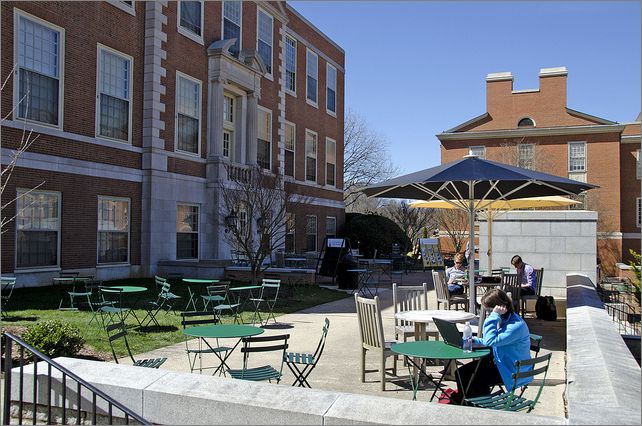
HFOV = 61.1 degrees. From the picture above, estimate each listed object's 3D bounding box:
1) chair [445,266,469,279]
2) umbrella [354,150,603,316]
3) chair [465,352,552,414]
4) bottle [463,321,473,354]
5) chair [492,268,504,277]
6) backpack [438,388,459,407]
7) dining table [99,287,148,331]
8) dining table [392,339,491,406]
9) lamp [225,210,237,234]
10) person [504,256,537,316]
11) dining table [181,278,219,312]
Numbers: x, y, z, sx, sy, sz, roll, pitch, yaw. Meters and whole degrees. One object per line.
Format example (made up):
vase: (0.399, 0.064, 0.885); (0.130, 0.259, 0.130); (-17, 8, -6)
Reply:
chair: (3.732, 1.637, 15.270); (0.593, 0.400, 0.738); (1, -7, -20)
umbrella: (3.585, 0.544, 12.391); (4.274, 3.347, 4.282); (-4, -8, 24)
chair: (2.904, 2.692, 8.560); (1.194, 1.089, 1.531); (-3, -8, 13)
bottle: (2.348, 2.008, 8.698); (0.154, 0.397, 0.435); (-3, -8, 14)
chair: (4.799, 1.616, 14.808); (0.181, 0.306, 0.221); (5, 10, 32)
backpack: (2.030, 2.933, 8.688); (0.279, 0.199, 0.520); (0, -8, -4)
dining table: (-5.057, 2.436, 13.849); (1.042, 0.772, 0.992); (1, 0, 14)
dining table: (1.795, 2.394, 8.960); (1.250, 0.768, 1.183); (0, 4, 5)
lamp: (-3.404, 0.320, 20.570); (0.480, 0.982, 2.334); (0, -8, -9)
person: (5.177, 1.659, 14.191); (0.925, 1.049, 0.806); (-6, 0, -35)
dining table: (-3.678, 2.471, 16.390); (1.084, 0.778, 0.994); (2, -3, 22)
